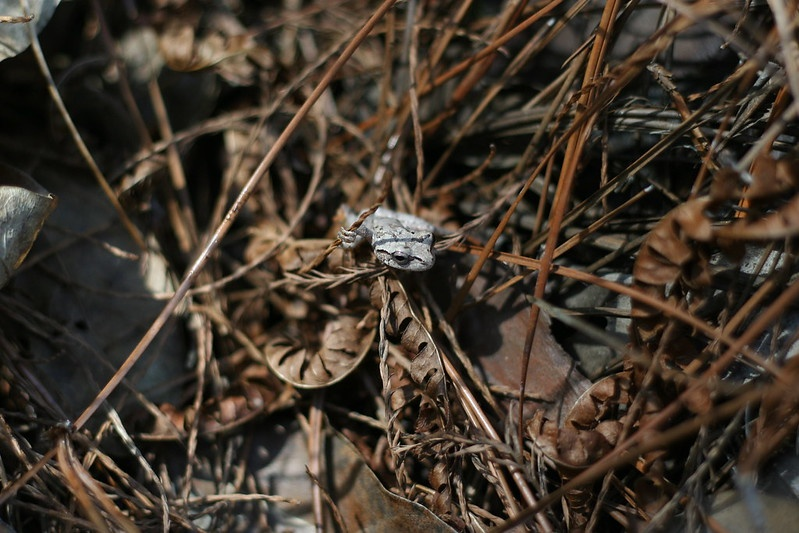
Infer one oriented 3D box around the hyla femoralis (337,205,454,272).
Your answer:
[{"bbox_3d":[-0.016,-0.068,2.255,0.236,0.136,0.191,20,36,10],"label":"hyla femoralis"}]
